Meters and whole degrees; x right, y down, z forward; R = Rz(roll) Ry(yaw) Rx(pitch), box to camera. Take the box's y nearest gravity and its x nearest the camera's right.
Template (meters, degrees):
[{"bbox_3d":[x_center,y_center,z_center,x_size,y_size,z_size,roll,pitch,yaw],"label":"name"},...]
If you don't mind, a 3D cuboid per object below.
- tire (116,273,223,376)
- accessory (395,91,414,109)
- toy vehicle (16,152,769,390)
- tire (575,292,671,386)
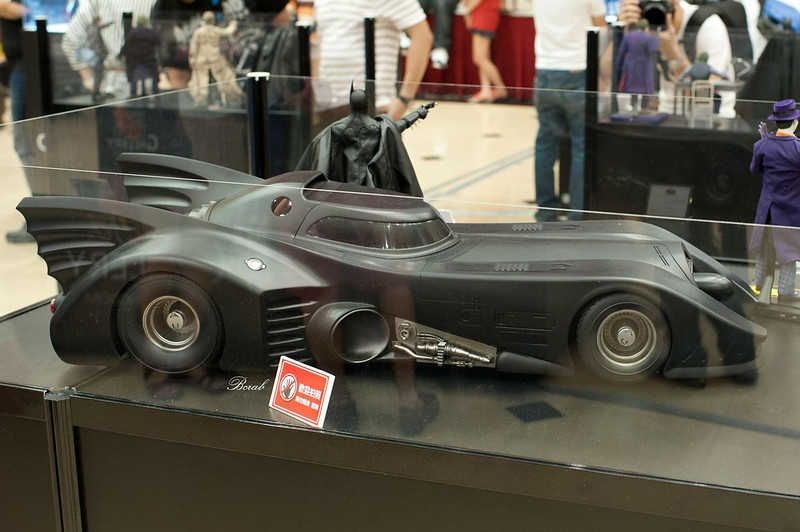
[{"bbox_3d":[-0.766,0.176,2.675,0.228,0.261,0.085,-18,4,3],"label":"tire"},{"bbox_3d":[0.018,-1.030,4.889,0.075,0.025,0.080,-14,46,-27],"label":"accessory"},{"bbox_3d":[-0.082,-0.235,2.710,1.872,0.525,0.985,2,16,7],"label":"toy vehicle"},{"bbox_3d":[0.712,0.223,2.520,0.242,0.286,0.095,2,-1,6],"label":"tire"}]
